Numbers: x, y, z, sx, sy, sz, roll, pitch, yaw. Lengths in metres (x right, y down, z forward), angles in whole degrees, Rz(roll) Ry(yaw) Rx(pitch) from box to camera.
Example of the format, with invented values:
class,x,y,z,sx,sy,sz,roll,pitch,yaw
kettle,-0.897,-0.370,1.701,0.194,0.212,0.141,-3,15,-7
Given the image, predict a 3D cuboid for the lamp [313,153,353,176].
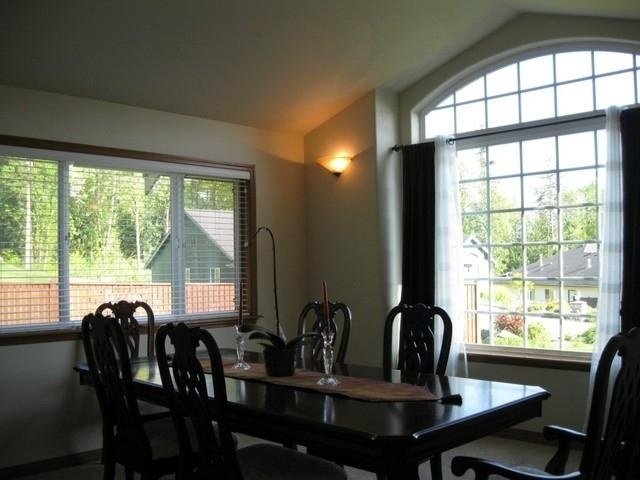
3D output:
class,x,y,z,sx,sy,sz,roll,pitch,yaw
lamp,0.174,-0.757,5.066,0.251,0.105,0.241,-5,-8,34
